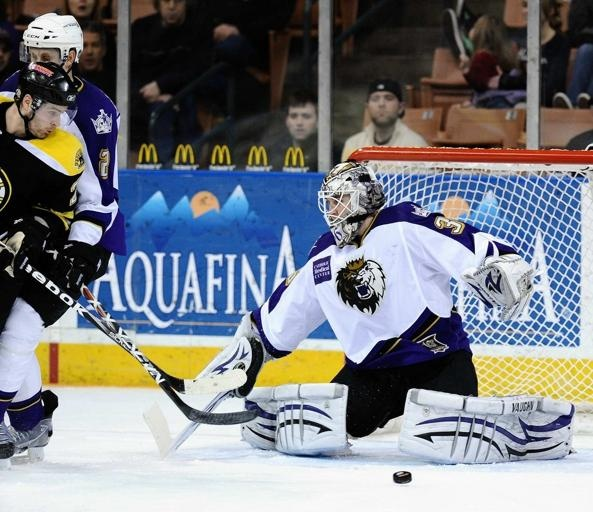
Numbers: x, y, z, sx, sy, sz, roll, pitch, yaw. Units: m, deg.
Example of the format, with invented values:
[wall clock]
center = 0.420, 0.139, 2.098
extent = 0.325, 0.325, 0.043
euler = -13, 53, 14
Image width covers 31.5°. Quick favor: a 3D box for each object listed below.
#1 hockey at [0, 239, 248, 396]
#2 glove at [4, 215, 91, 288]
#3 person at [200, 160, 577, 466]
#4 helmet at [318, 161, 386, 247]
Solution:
[hockey]
center = -0.632, 0.276, 3.896
extent = 0.412, 1.055, 0.087
euler = -41, 14, 32
[glove]
center = -0.874, -0.018, 3.797
extent = 0.298, 0.216, 0.125
euler = 33, -29, -26
[person]
center = 0.333, 0.210, 4.064
extent = 1.397, 1.056, 0.824
euler = -3, -3, 37
[helmet]
center = 0.223, -0.212, 4.095
extent = 0.298, 0.325, 0.250
euler = -8, 6, -34
